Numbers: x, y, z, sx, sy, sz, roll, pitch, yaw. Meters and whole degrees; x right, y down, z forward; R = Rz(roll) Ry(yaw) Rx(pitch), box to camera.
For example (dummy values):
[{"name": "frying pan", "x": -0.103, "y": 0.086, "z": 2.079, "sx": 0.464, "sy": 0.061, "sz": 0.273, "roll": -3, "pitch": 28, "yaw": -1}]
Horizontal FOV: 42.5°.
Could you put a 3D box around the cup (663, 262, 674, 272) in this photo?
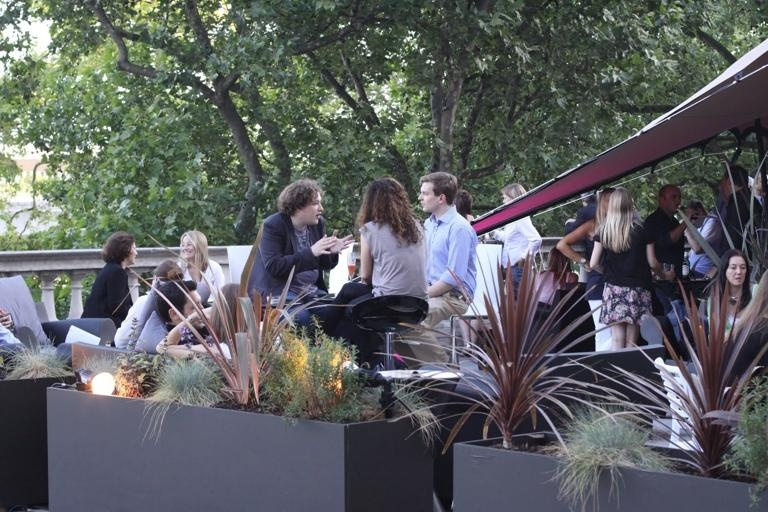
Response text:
[{"name": "cup", "x": 2.933, "y": 0.120, "z": 10.222, "sx": 0.085, "sy": 0.067, "sz": 0.088, "roll": 1, "pitch": 4, "yaw": 0}]

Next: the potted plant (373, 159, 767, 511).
[{"name": "potted plant", "x": 1.277, "y": 0.560, "z": 7.518, "sx": 1.738, "sy": 1.448, "sz": 2.237, "roll": 6, "pitch": 7, "yaw": 41}]
